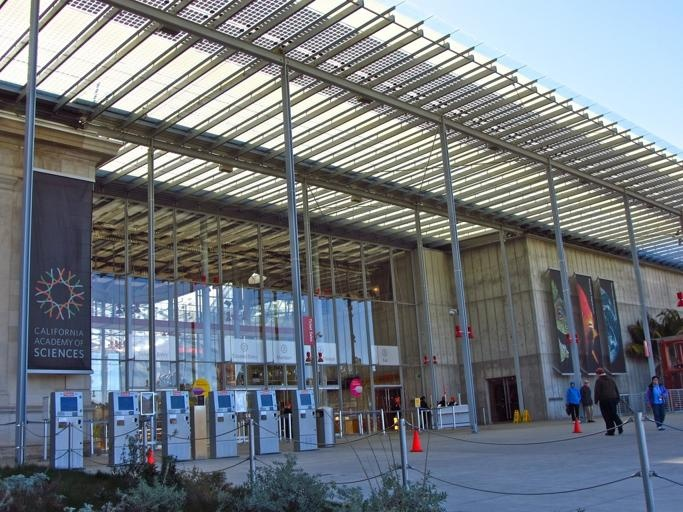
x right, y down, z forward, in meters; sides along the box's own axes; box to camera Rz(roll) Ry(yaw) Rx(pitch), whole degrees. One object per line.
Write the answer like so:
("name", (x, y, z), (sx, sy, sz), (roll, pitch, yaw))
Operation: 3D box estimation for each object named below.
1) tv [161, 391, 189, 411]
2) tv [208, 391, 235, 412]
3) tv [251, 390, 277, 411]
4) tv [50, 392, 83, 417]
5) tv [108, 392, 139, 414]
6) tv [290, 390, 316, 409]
("tv", (-5.023, 4.376, 19.603), (0.389, 0.589, 0.741), (-20, -22, 40))
("tv", (-3.652, 4.428, 19.691), (0.348, 0.513, 0.615), (-19, -23, 39))
("tv", (-2.423, 4.518, 20.212), (0.830, 0.676, 0.521), (2, -17, -24))
("tv", (-7.501, 4.051, 17.714), (0.292, 0.498, 0.635), (-24, -27, 39))
("tv", (-6.238, 4.211, 18.608), (0.352, 0.554, 0.696), (-19, -21, 40))
("tv", (-1.219, 4.490, 20.314), (0.420, 0.642, 0.785), (-17, -21, 40))
